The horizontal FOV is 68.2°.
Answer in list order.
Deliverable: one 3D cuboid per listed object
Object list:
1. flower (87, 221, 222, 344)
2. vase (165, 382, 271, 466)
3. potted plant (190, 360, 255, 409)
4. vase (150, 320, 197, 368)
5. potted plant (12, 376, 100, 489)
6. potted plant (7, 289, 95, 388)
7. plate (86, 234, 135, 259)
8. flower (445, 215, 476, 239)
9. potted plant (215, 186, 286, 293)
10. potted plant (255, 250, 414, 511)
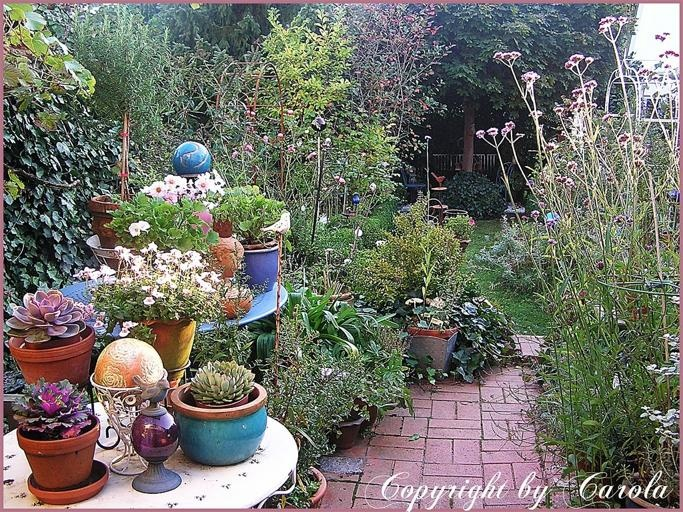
[{"bbox_3d":[-0.742,0.175,1.992,0.392,0.244,0.437,9,2,42],"label":"flower"},{"bbox_3d":[-0.425,0.573,1.767,0.334,0.217,0.333,2,6,-3],"label":"vase"},{"bbox_3d":[-0.410,0.439,1.723,0.189,0.090,0.185,-1,-9,7],"label":"potted plant"},{"bbox_3d":[-0.622,0.318,1.909,0.170,0.172,0.172,0,2,-8],"label":"vase"},{"bbox_3d":[-0.840,0.523,1.474,0.201,0.305,0.115,8,11,10],"label":"potted plant"},{"bbox_3d":[-0.917,0.270,1.770,0.293,0.356,0.308,-1,-3,-7],"label":"potted plant"},{"bbox_3d":[-1.192,-0.052,2.588,0.163,0.055,0.166,4,2,-2],"label":"plate"},{"bbox_3d":[1.618,-0.402,6.922,0.340,0.292,0.498,7,10,7],"label":"flower"},{"bbox_3d":[-0.525,-0.123,3.195,0.518,0.712,0.525,-2,1,-13],"label":"potted plant"},{"bbox_3d":[-0.091,0.638,2.929,1.113,1.192,0.929,0,-3,-10],"label":"potted plant"}]
